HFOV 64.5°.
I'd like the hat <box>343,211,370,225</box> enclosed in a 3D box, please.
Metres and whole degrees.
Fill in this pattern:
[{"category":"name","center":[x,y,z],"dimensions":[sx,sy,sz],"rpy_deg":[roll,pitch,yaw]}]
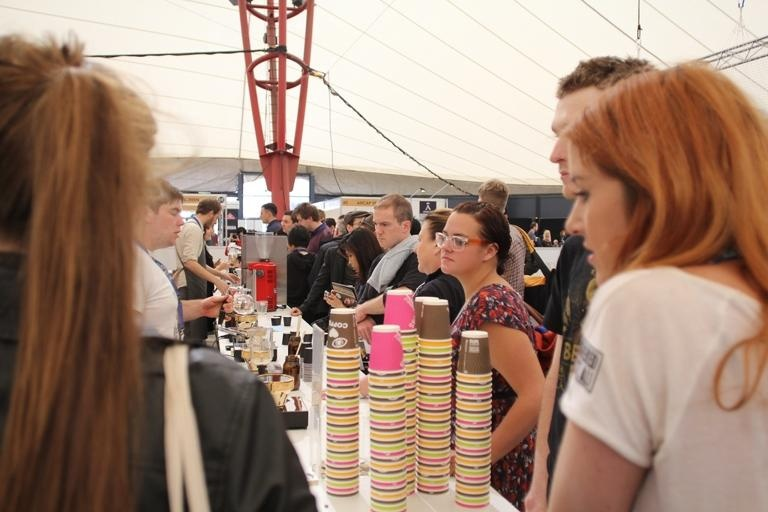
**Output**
[{"category":"hat","center":[-0.357,-0.411,7.138],"dimensions":[0.288,0.089,0.204],"rpy_deg":[-17,-2,37]}]
